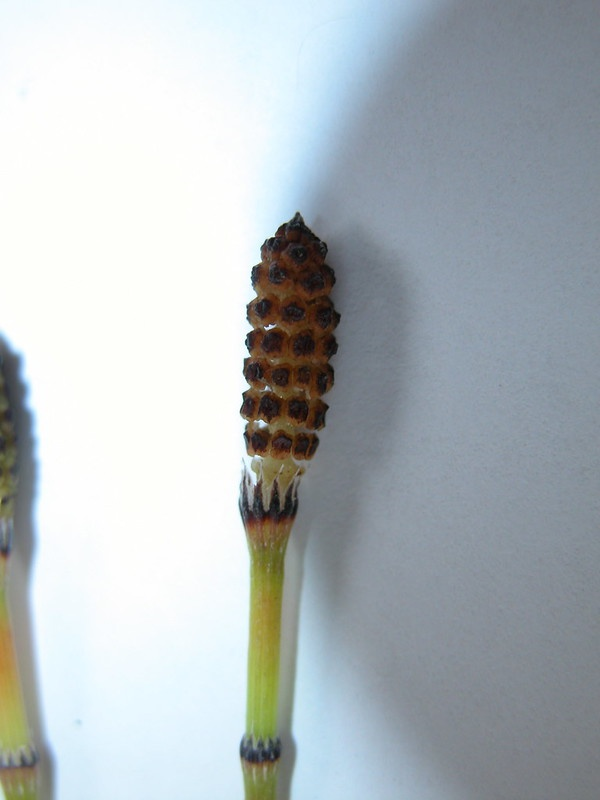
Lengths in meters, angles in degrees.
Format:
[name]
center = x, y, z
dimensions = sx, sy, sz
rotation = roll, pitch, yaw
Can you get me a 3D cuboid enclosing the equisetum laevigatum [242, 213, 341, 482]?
[equisetum laevigatum]
center = -0.008, -0.049, 0.808
dimensions = 0.086, 0.250, 0.069
rotation = 4, -5, -5
